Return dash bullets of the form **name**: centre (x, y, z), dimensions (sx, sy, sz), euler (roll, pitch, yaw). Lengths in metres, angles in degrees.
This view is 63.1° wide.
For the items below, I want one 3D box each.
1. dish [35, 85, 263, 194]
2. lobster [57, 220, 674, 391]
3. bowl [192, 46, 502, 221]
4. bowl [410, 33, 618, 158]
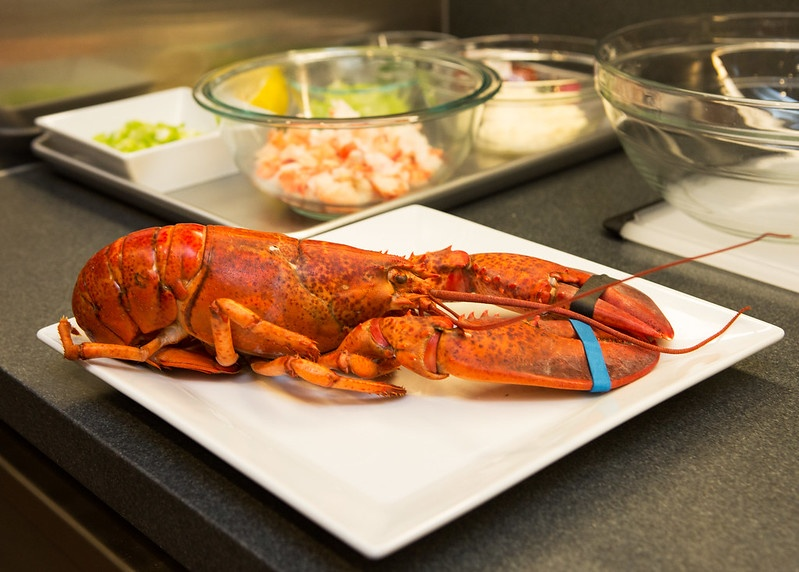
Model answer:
- **dish**: centre (-0.388, -0.247, 1.115), dimensions (0.340, 0.084, 0.281), euler (-14, 32, -23)
- **lobster**: centre (-0.037, 0.038, 0.672), dimensions (0.531, 0.092, 0.234), euler (0, 22, 1)
- **bowl**: centre (-0.074, -0.258, 1.023), dimensions (0.426, 0.187, 0.313), euler (-20, 39, -18)
- **bowl**: centre (0.198, -0.402, 1.227), dimensions (0.350, 0.122, 0.321), euler (-2, 27, 1)
